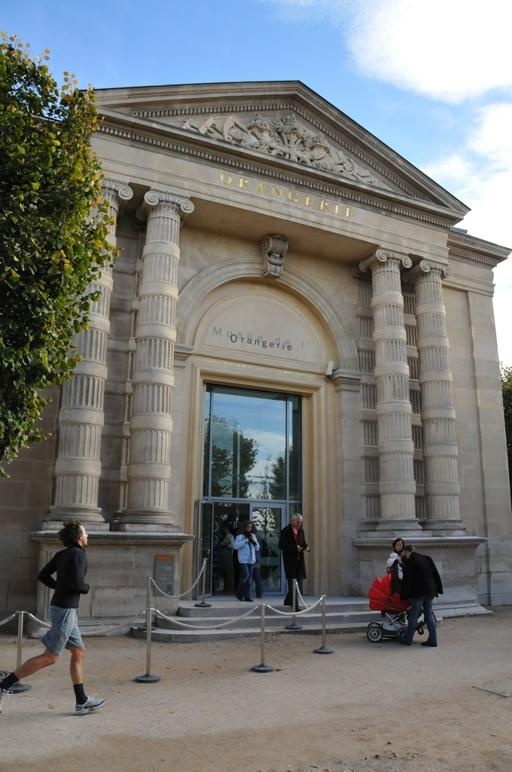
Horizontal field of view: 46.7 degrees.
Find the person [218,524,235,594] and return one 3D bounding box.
[{"bbox_3d":[-0.710,4.184,14.201,0.391,1.613,0.612,1,-12,-2],"label":"person"}]

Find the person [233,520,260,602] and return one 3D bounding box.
[{"bbox_3d":[-0.206,3.920,13.101,0.509,1.683,0.764,0,-12,3],"label":"person"}]

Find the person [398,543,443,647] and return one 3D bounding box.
[{"bbox_3d":[2.741,3.513,9.887,0.609,1.591,0.720,-3,-12,16],"label":"person"}]
